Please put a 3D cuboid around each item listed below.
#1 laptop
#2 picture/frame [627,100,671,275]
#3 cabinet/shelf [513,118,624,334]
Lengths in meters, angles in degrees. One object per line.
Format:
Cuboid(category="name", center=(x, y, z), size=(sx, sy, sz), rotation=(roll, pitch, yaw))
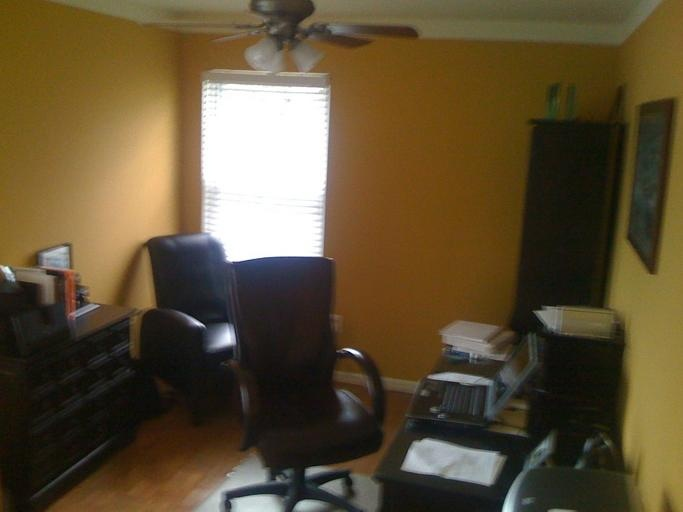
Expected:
Cuboid(category="laptop", center=(0.618, 0.601, 2.634), size=(0.372, 0.217, 0.511), rotation=(-1, 8, 33))
Cuboid(category="picture/frame", center=(1.226, -0.284, 2.285), size=(0.081, 0.654, 0.585), rotation=(4, 13, 22))
Cuboid(category="cabinet/shelf", center=(1.213, -0.210, 3.050), size=(0.452, 1.012, 0.203), rotation=(4, 13, 21))
